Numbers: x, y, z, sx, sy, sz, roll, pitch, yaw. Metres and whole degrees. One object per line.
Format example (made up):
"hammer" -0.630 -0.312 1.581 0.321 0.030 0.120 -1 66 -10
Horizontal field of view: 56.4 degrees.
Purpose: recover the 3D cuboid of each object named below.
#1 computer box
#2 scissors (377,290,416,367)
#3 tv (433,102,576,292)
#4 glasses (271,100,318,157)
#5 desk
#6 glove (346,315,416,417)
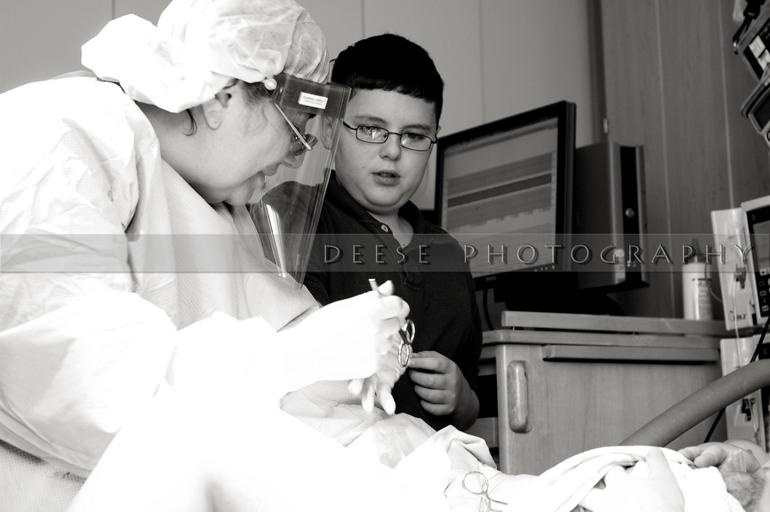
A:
"computer box" 0.581 -0.075 2.538 0.449 0.637 0.586 1 -1 -14
"scissors" 0.008 0.141 1.366 0.044 0.147 0.096 3 5 28
"tv" 0.384 -0.162 2.255 0.052 0.500 0.502 8 -11 -44
"glasses" -0.177 -0.246 1.428 0.036 0.103 0.061 -6 29 43
"desk" 0.526 0.320 1.850 0.382 0.552 0.531 2 -3 -13
"glove" -0.006 0.199 1.280 0.080 0.053 0.207 2 42 22
